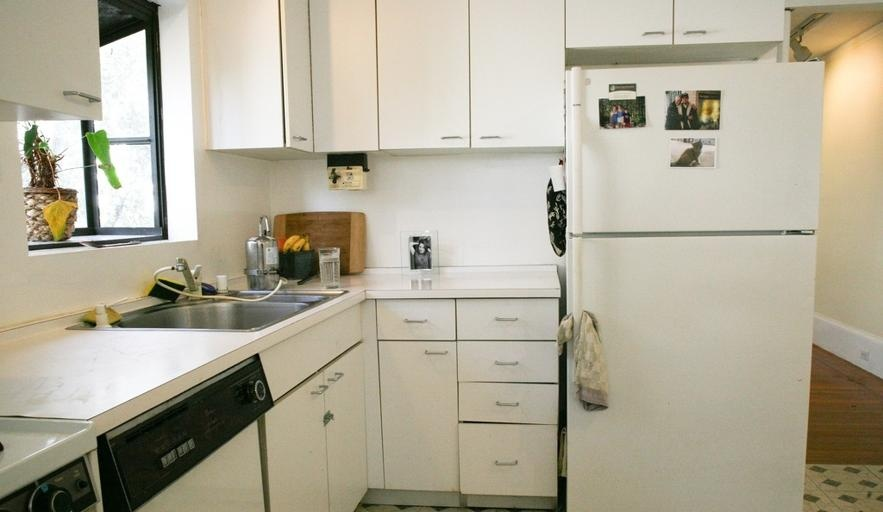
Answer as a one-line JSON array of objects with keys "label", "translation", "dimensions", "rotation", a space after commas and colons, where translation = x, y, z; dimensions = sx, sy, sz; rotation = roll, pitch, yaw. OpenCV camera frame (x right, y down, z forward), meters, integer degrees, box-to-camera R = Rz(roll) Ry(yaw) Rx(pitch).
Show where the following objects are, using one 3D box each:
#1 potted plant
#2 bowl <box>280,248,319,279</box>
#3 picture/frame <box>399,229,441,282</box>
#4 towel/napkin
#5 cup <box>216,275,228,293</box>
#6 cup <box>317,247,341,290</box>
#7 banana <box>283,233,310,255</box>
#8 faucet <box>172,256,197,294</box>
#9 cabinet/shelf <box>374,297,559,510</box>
[{"label": "potted plant", "translation": [-1.819, -0.396, 3.508], "dimensions": [0.576, 0.592, 0.617], "rotation": [2, 3, 6]}, {"label": "bowl", "translation": [-0.896, 0.055, 4.009], "dimensions": [0.320, 0.213, 0.164], "rotation": [1, 8, -1]}, {"label": "picture/frame", "translation": [-0.130, -0.006, 4.231], "dimensions": [0.369, 0.465, 0.049], "rotation": [-1, 0, 1]}, {"label": "towel/napkin", "translation": [0.775, 0.553, 3.521], "dimensions": [0.275, 0.520, 0.120], "rotation": [1, 5, 16]}, {"label": "cup", "translation": [-1.233, 0.161, 3.665], "dimensions": [0.092, 0.109, 0.091], "rotation": [3, 3, 0]}, {"label": "cup", "translation": [-0.675, 0.071, 3.868], "dimensions": [0.113, 0.233, 0.117], "rotation": [0, 5, 0]}, {"label": "banana", "translation": [-0.924, -0.076, 4.085], "dimensions": [0.131, 0.055, 0.225], "rotation": [-3, 5, 0]}, {"label": "faucet", "translation": [-1.402, 0.105, 3.530], "dimensions": [0.091, 0.201, 0.202], "rotation": [-1, 5, -7]}, {"label": "cabinet/shelf", "translation": [0.172, 0.811, 3.754], "dimensions": [1.370, 1.364, 0.723], "rotation": [0, 1, 5]}]
